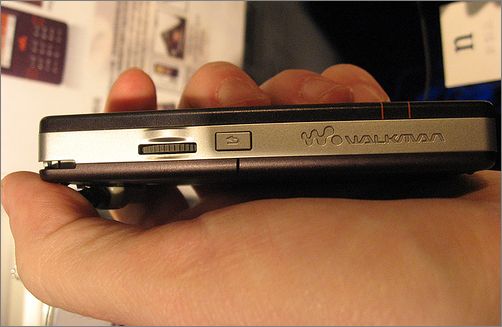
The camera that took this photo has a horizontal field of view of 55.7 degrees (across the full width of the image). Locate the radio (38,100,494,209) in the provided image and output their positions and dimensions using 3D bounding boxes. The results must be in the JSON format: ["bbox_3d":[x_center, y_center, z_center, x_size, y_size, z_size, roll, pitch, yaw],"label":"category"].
[{"bbox_3d":[0.125,-0.037,1.604,1.271,0.297,0.490,1,-2,10],"label":"radio"}]
